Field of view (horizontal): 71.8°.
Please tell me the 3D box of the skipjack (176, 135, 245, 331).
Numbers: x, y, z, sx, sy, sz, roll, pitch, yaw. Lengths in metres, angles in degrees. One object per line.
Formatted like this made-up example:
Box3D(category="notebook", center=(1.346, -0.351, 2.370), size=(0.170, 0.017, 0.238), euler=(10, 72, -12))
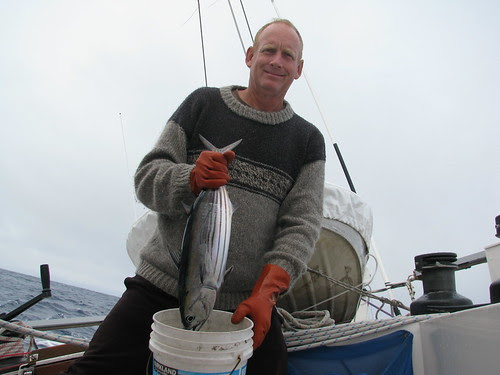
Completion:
Box3D(category="skipjack", center=(-0.203, 0.210, 2.076), size=(0.400, 1.160, 0.232), euler=(4, -14, 4))
